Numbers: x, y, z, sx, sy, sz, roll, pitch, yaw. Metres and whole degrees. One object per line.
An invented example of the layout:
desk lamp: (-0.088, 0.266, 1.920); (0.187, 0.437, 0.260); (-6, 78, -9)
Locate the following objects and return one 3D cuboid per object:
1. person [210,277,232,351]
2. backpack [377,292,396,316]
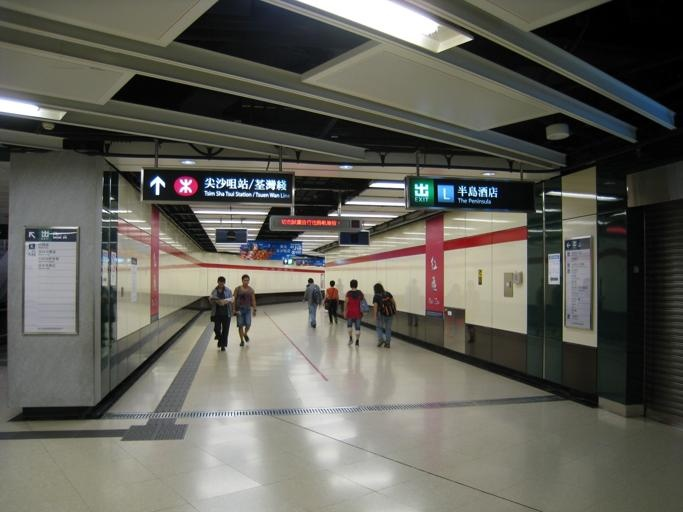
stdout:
person: (-2.836, 1.388, 10.876); (0.522, 1.803, 0.865); (-2, 1, -14)
backpack: (1.089, 1.220, 11.288); (0.455, 0.625, 0.406); (-1, 1, 11)
